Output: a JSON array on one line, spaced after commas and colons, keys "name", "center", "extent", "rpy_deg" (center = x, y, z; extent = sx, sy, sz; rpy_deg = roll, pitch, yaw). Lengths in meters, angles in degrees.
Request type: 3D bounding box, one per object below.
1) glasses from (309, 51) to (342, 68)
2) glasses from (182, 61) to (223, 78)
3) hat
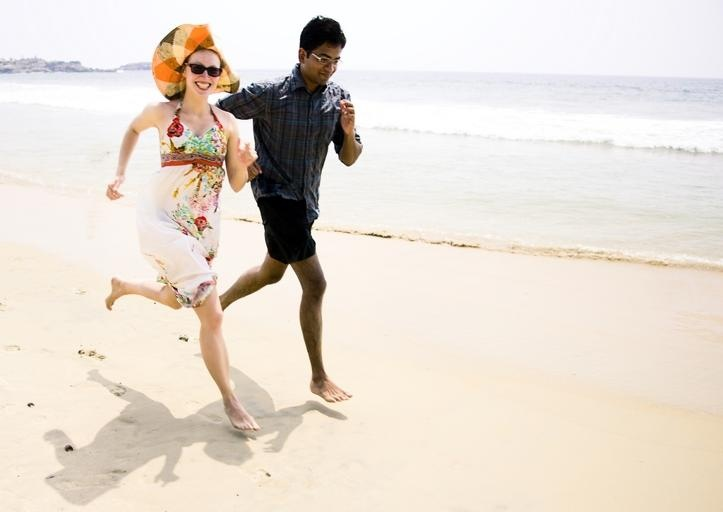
[{"name": "glasses", "center": [-0.279, -1.472, 4.299], "extent": [0.229, 0.088, 0.093], "rpy_deg": [0, 17, -15]}, {"name": "glasses", "center": [-1.068, -1.254, 3.885], "extent": [0.223, 0.085, 0.079], "rpy_deg": [0, 17, -16]}, {"name": "hat", "center": [-1.211, -1.368, 4.127], "extent": [0.652, 0.233, 0.708], "rpy_deg": [-13, -7, 6]}]
